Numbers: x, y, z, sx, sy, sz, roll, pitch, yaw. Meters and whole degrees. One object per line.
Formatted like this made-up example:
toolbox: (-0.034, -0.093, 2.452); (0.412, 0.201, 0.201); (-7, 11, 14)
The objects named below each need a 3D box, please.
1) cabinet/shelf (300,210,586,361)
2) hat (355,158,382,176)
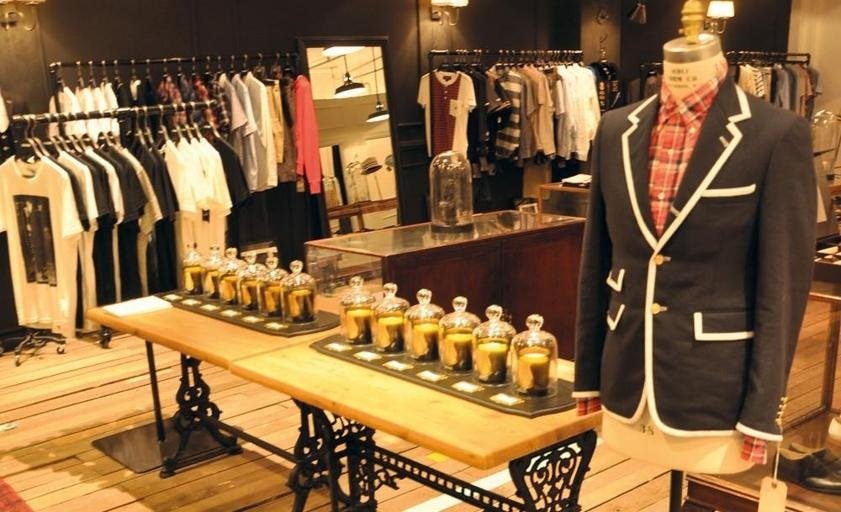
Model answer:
cabinet/shelf: (0.180, 0.165, 3.653); (1.205, 0.648, 0.411); (-7, 10, -35)
hat: (-0.535, -0.945, 6.775); (0.208, 0.084, 0.190); (-5, -1, 9)
